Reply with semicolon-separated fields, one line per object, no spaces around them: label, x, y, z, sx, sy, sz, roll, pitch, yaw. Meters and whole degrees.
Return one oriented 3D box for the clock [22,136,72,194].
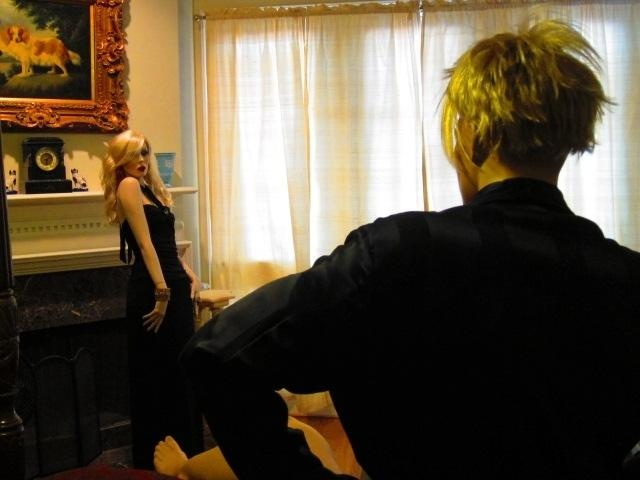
clock;-1.455;-0.396;3.048;0.229;0.298;0.158;-3;6;-24

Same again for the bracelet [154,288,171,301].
bracelet;-0.717;0.247;2.614;0.059;0.049;0.061;-3;-4;30
